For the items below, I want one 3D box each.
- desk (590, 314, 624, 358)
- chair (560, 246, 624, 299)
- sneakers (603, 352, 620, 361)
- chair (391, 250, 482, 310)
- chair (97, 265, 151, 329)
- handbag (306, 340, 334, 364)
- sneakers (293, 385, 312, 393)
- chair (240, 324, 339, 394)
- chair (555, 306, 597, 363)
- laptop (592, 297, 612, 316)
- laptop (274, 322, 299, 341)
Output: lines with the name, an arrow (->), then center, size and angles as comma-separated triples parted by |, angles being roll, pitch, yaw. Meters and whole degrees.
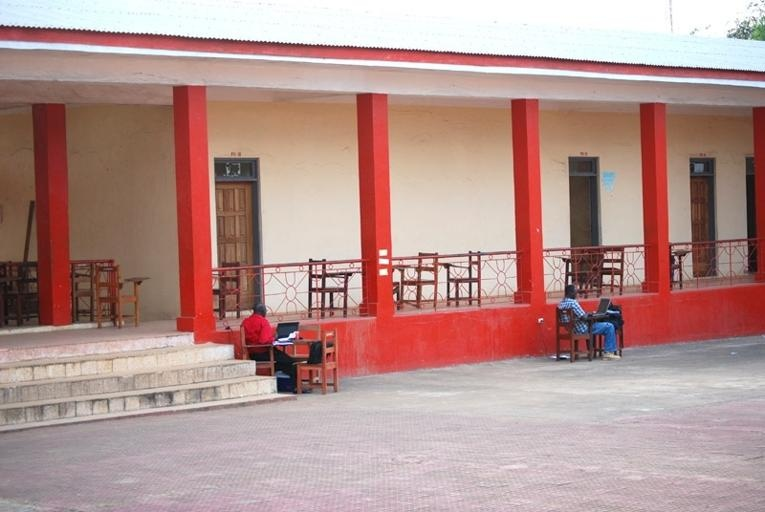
desk -> 4.114, 1.394, 21.256 | 0.603, 0.840, 0.521 | 5, -6, 31
chair -> 4.516, 0.313, 23.866 | 1.176, 0.745, 1.183 | 3, 5, 29
sneakers -> 4.253, 1.896, 21.083 | 0.272, 0.123, 0.123 | -1, 1, 2
chair -> 1.086, 0.467, 22.553 | 1.739, 0.849, 0.991 | -3, 4, -41
chair -> -4.804, 0.706, 20.345 | 0.828, 1.012, 0.724 | -1, -2, 20
handbag -> -1.110, 1.607, 18.452 | 0.322, 0.416, 0.165 | 5, 5, 19
sneakers -> -1.330, 2.204, 18.551 | 0.285, 0.144, 0.267 | -1, 14, -5
chair -> -1.462, 1.688, 18.742 | 1.259, 0.928, 1.283 | 0, 2, 21
chair -> 3.603, 1.480, 21.167 | 0.776, 0.891, 0.817 | 1, -5, 16
laptop -> 4.158, 0.978, 21.359 | 0.319, 0.270, 0.379 | 27, -14, -27
laptop -> -1.643, 1.267, 19.051 | 0.347, 0.206, 0.296 | 1, -7, 0
